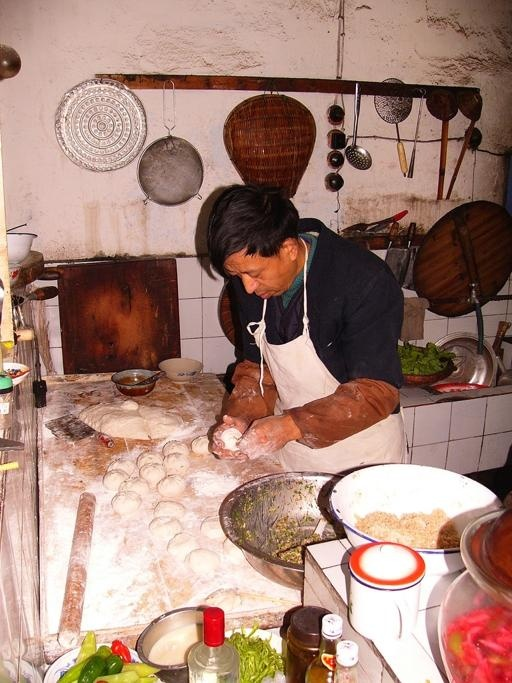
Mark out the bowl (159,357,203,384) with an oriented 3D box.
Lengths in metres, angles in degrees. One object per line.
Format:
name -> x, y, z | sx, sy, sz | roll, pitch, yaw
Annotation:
bowl -> -0.411, 0.148, 3.158 | 0.212, 0.081, 0.332 | -8, 13, -27

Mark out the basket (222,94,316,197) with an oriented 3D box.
basket -> 0.074, -1.072, 3.188 | 0.485, 0.525, 0.210 | -3, 14, -2

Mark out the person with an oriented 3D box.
person -> 0.151, 0.011, 1.835 | 0.617, 0.967, 0.627 | 0, 14, 12

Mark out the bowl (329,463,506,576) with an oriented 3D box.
bowl -> 0.299, 0.344, 1.181 | 0.320, 0.114, 0.277 | -5, 12, -16

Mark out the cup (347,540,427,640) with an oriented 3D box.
cup -> 0.198, 0.376, 0.861 | 0.111, 0.111, 0.133 | -5, 12, -2

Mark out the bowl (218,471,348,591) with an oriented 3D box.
bowl -> 0.087, 0.491, 1.488 | 0.361, 0.091, 0.348 | -9, 13, 2

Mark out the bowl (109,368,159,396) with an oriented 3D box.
bowl -> -0.595, 0.205, 2.882 | 0.225, 0.082, 0.285 | -5, 12, -14
